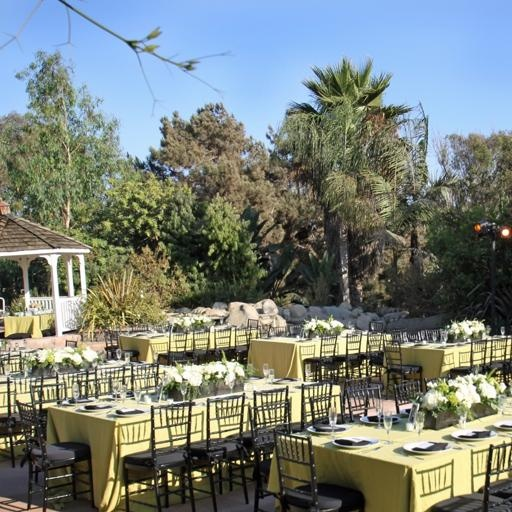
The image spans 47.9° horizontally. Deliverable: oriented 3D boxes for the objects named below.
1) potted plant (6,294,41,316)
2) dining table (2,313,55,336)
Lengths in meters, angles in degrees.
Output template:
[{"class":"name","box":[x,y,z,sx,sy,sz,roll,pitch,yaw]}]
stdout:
[{"class":"potted plant","box":[-8.382,1.909,20.923,1.128,0.940,1.322,4,-6,4]},{"class":"dining table","box":[-7.610,2.325,19.383,1.200,0.358,0.708,-2,1,-43]}]
